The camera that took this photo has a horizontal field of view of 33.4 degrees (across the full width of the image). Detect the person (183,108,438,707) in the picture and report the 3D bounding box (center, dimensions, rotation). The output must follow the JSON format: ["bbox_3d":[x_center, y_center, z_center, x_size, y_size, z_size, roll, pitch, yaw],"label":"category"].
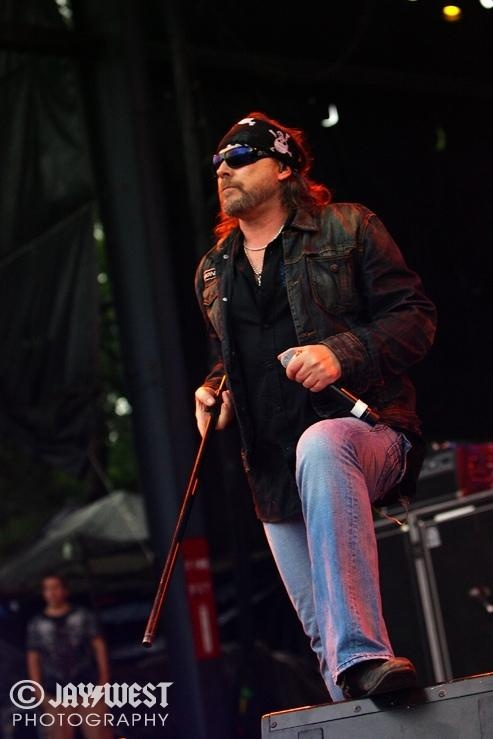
[{"bbox_3d":[0.169,-0.033,1.992,0.577,1.048,0.911,-10,-6,-8],"label":"person"}]

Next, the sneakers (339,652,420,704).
[{"bbox_3d":[0.217,0.577,1.554,0.183,0.073,0.070,-22,-15,20],"label":"sneakers"}]

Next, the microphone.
[{"bbox_3d":[0.200,0.039,1.868,0.055,0.230,0.060,-46,-1,-14],"label":"microphone"}]
